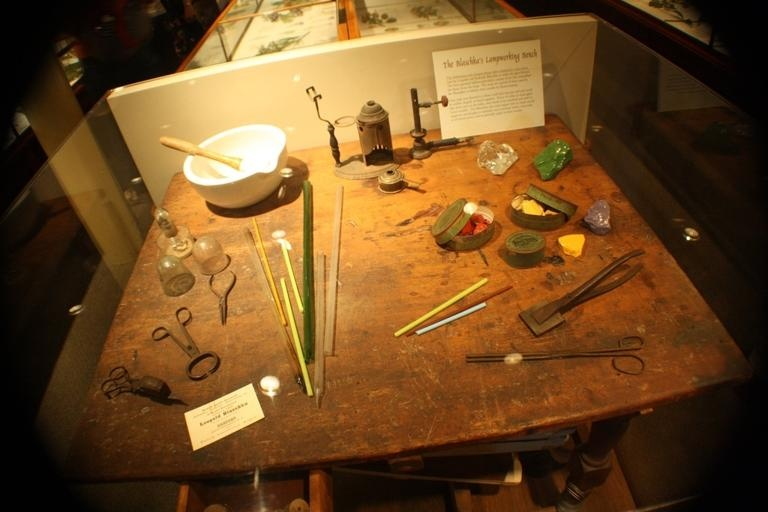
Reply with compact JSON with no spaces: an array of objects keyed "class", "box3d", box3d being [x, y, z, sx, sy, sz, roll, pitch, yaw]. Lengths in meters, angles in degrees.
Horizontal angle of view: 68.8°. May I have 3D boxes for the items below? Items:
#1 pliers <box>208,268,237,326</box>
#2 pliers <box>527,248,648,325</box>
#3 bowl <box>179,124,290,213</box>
[{"class":"pliers","box3d":[-0.679,0.165,2.367,0.091,0.012,0.234,-6,42,-10]},{"class":"pliers","box3d":[0.785,0.127,2.148,0.603,0.097,0.165,-33,29,-6]},{"class":"bowl","box3d":[-0.669,-0.439,2.742,0.527,0.415,0.438,7,28,2]}]
